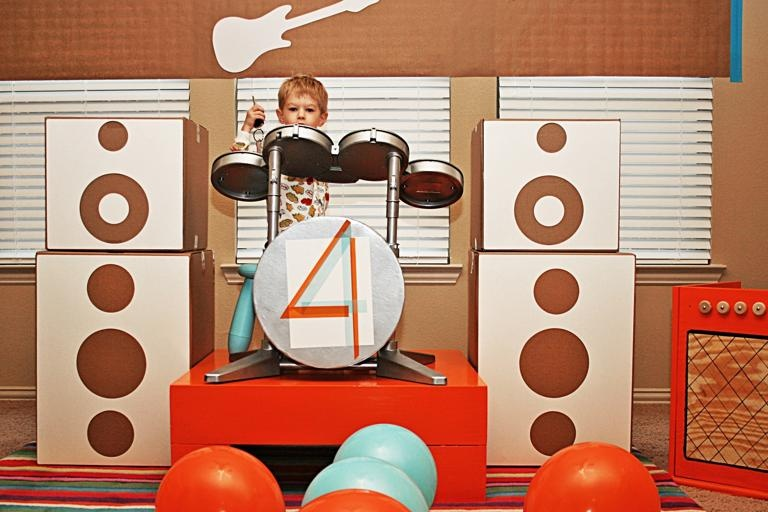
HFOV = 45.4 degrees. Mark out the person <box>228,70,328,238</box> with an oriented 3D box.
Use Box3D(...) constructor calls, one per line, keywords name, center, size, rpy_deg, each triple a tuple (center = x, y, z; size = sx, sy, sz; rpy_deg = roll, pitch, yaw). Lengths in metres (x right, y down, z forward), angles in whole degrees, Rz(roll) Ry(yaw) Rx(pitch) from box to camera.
Box3D(name="person", center=(-0.484, -0.479, 5.082), size=(0.651, 1.064, 0.358), rpy_deg=(1, -12, -18))
